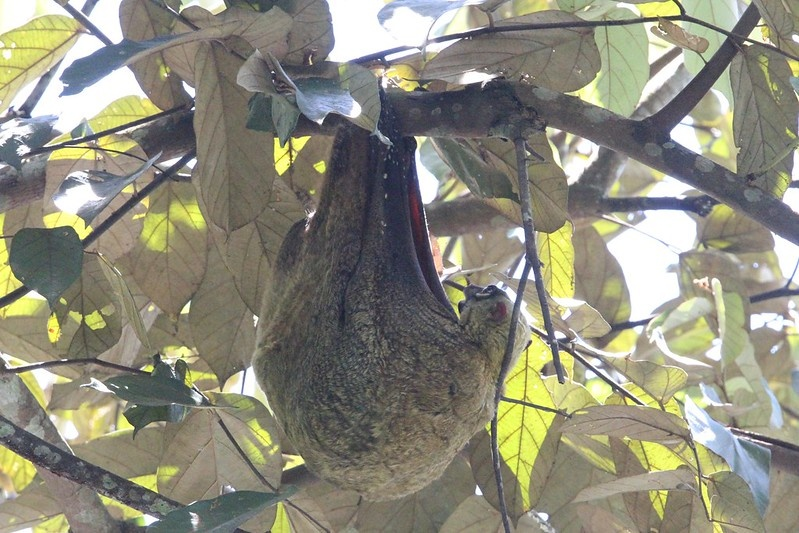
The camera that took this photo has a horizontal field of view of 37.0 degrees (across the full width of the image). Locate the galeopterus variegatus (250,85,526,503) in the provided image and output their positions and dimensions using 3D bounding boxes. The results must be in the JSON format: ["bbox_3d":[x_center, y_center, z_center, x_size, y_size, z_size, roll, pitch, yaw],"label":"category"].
[{"bbox_3d":[-0.113,0.161,5.269,1.101,1.589,1.717,1,-91,-8],"label":"galeopterus variegatus"}]
